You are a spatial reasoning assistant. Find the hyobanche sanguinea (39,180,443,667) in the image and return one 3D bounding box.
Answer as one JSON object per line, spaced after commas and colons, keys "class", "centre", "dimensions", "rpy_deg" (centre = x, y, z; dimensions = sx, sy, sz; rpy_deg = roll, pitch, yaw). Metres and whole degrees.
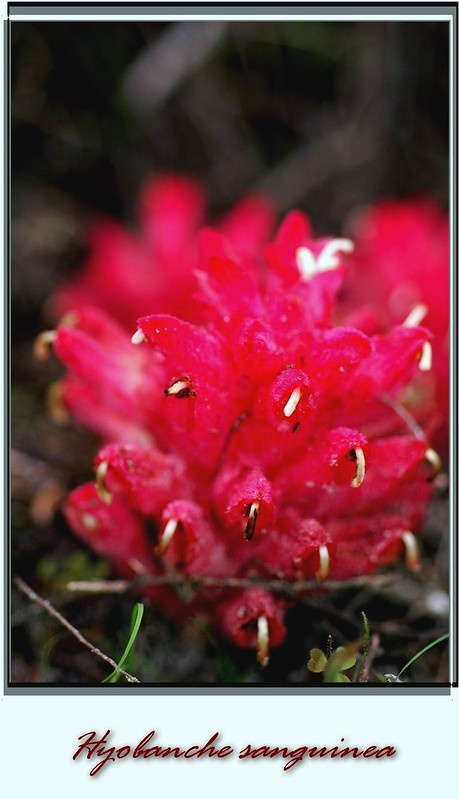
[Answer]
{"class": "hyobanche sanguinea", "centre": [-0.004, 0.021, 0.630], "dimensions": [0.368, 0.363, 0.340], "rpy_deg": [13, 18, 27]}
